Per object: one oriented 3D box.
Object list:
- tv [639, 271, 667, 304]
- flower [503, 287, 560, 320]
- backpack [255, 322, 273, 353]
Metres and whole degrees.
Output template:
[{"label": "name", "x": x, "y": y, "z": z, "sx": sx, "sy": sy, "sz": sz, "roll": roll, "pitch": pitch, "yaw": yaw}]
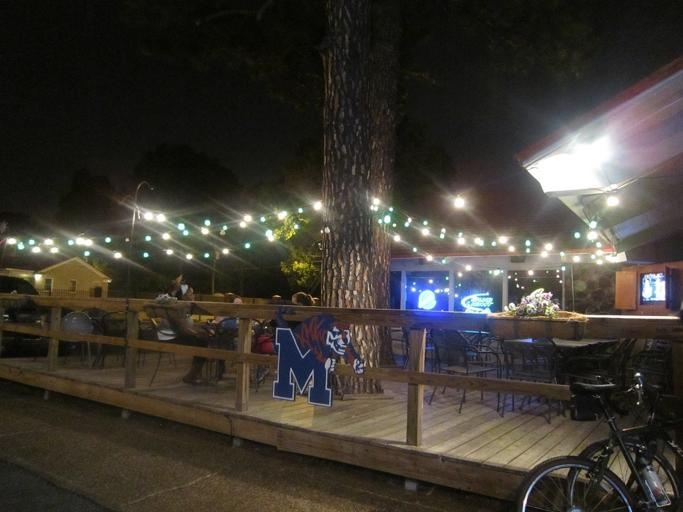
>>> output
[{"label": "tv", "x": 7.570, "y": 0.793, "z": 12.268, "sx": 0.244, "sy": 0.929, "sz": 1.535, "roll": -1, "pitch": 6, "yaw": 19}, {"label": "flower", "x": 2.038, "y": 0.539, "z": 5.374, "sx": 0.481, "sy": 0.215, "sz": 0.352, "roll": -4, "pitch": 2, "yaw": 15}, {"label": "backpack", "x": -1.280, "y": 1.372, "z": 8.351, "sx": 0.377, "sy": 0.510, "sz": 0.185, "roll": -12, "pitch": -30, "yaw": 31}]
